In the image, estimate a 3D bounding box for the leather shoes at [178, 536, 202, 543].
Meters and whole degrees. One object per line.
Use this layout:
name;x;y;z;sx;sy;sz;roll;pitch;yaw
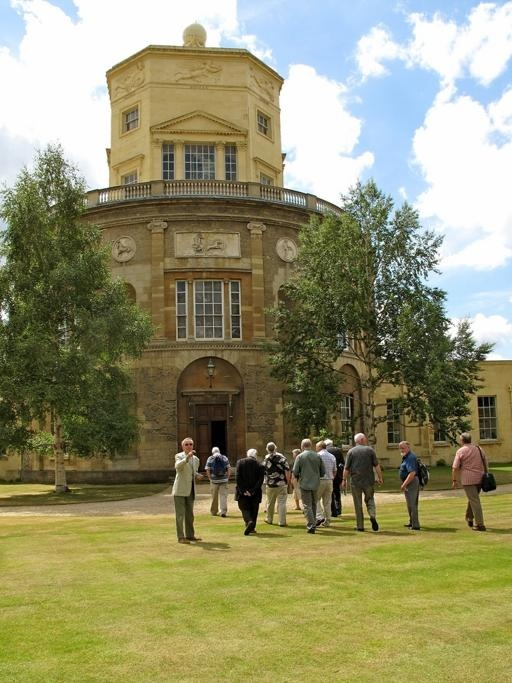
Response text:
leather shoes;-1.039;3.054;11.224;0.398;0.138;0.112;-1;-5;-1

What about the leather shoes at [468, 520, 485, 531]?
leather shoes;3.541;2.993;11.865;0.328;0.116;0.101;8;-5;22

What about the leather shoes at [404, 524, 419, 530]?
leather shoes;2.613;3.113;12.235;0.226;0.083;0.076;7;-4;44

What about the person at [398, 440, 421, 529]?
person;2.638;2.453;12.517;0.331;1.466;1.128;-3;-8;11

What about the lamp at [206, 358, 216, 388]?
lamp;-1.694;1.189;27.821;0.328;1.193;0.901;-1;-8;-5
